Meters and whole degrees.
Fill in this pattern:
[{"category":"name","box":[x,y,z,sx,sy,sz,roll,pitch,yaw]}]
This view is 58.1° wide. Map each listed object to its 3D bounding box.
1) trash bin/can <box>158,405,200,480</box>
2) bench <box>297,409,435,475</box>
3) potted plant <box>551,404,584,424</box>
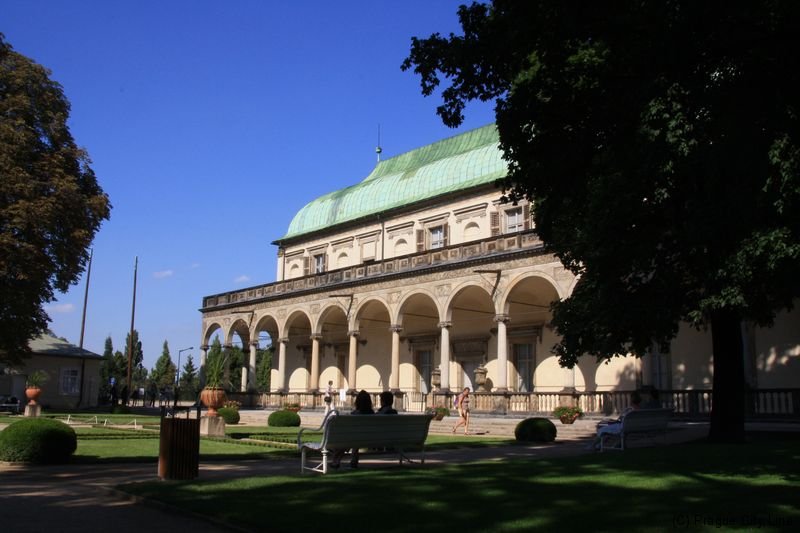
[{"category":"trash bin/can","box":[-3.603,2.872,11.655,0.643,1.057,0.504,1,-15,-7]},{"category":"bench","box":[-0.545,3.315,13.579,3.054,0.996,2.684,6,-17,-25]},{"category":"potted plant","box":[5.747,5.073,25.004,0.697,0.480,0.690,6,-10,-33]}]
